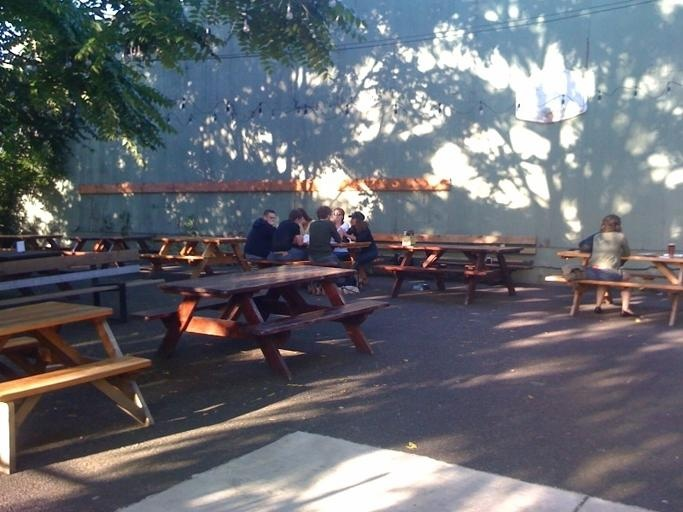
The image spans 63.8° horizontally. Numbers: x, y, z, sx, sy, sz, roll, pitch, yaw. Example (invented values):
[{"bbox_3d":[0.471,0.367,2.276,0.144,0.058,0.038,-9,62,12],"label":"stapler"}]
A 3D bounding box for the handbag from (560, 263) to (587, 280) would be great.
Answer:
[{"bbox_3d":[3.282,0.227,7.724,0.301,0.190,0.251,2,5,23],"label":"handbag"}]

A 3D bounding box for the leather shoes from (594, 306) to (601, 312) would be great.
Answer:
[{"bbox_3d":[3.662,0.754,7.829,0.056,0.061,0.158,3,11,35],"label":"leather shoes"}]

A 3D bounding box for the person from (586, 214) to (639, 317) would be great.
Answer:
[{"bbox_3d":[3.836,0.110,7.753,0.645,1.379,0.604,3,6,28],"label":"person"}]

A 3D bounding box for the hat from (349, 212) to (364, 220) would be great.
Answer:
[{"bbox_3d":[0.312,-0.735,10.232,0.233,0.160,0.266,1,5,13],"label":"hat"}]
